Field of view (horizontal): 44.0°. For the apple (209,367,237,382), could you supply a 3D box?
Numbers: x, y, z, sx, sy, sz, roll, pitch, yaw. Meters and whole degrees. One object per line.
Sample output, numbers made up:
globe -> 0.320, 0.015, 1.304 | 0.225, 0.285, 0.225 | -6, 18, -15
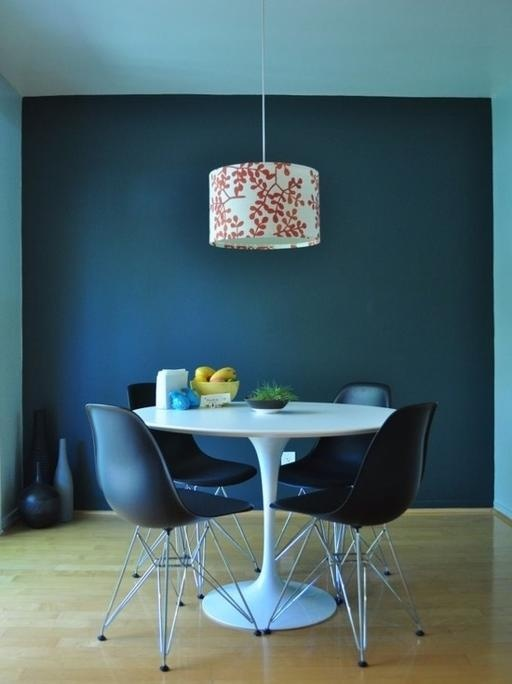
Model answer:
apple -> -0.138, 0.136, 2.659 | 0.066, 0.031, 0.069 | -3, 3, 32

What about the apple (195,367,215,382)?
apple -> -0.222, 0.125, 2.685 | 0.076, 0.057, 0.158 | -4, 8, 2

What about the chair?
chair -> -0.078, 0.629, 2.178 | 0.946, 0.692, 1.012 | 2, -6, -38
